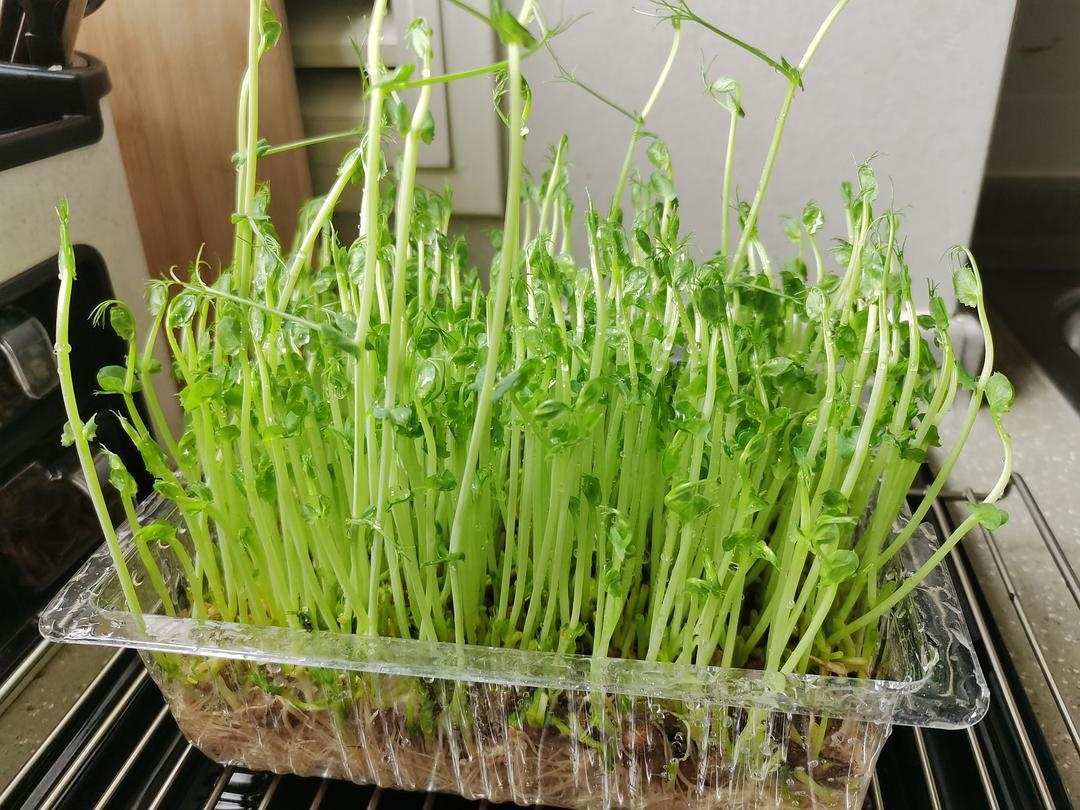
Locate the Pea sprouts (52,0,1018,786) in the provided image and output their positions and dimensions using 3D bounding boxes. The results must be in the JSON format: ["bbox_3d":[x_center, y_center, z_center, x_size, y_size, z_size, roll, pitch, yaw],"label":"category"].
[{"bbox_3d":[0.018,0.084,1.006,0.913,0.706,0.695,1,37,3],"label":"Pea sprouts"}]
